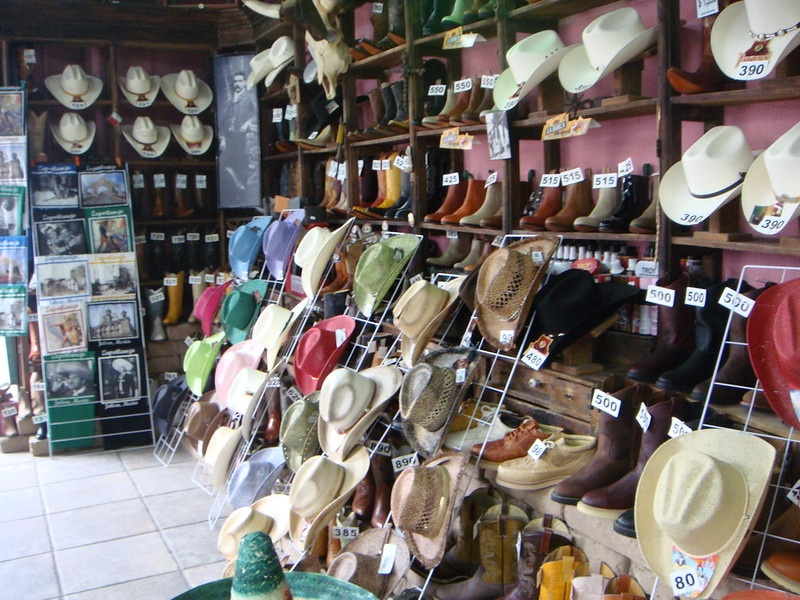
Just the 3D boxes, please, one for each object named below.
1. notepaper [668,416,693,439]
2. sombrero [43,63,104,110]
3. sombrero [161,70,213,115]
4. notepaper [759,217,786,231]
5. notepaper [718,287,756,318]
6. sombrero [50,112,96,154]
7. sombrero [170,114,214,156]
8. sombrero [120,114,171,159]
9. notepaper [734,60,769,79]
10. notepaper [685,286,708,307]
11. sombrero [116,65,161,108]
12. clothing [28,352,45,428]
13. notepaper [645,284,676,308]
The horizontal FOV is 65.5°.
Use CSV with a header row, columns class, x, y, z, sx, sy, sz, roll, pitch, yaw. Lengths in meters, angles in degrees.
class,x,y,z,sx,sy,sz,roll,pitch,yaw
notepaper,1.023,0.468,2.283,0.009,0.053,0.066,0,20,-30
sombrero,-3.059,-2.064,5.873,0.498,0.256,0.610,-1,37,-26
sombrero,-2.102,-2.151,6.198,0.484,0.233,0.591,-3,-19,-6
notepaper,1.400,-0.284,2.343,0.026,0.061,0.111,-3,9,-13
notepaper,1.215,0.010,2.242,0.033,0.098,0.145,5,23,-32
sombrero,-3.109,-1.585,5.949,0.377,0.404,0.382,-5,10,-27
sombrero,-2.077,-1.719,6.214,0.422,0.250,0.527,-2,-18,-7
sombrero,-2.497,-1.671,6.156,0.431,0.266,0.613,-1,-9,-22
notepaper,1.365,-0.895,2.419,0.012,0.081,0.085,23,-4,-38
notepaper,1.181,-0.010,2.489,0.066,0.099,0.191,4,10,28
sombrero,-2.522,-2.054,6.036,0.305,0.443,0.194,-10,-24,-26
clothing,-3.233,0.820,5.550,0.167,0.646,0.246,-5,-23,-22
notepaper,1.086,-0.019,2.595,0.102,0.082,0.076,3,10,25
